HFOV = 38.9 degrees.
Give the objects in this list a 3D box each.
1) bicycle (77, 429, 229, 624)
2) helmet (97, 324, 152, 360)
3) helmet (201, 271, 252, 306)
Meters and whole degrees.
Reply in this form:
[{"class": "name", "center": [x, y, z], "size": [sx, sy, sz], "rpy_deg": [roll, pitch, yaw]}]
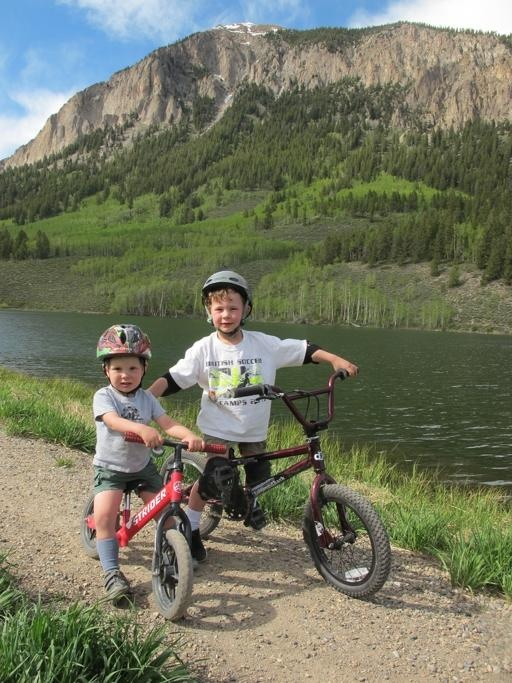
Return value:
[{"class": "bicycle", "center": [-0.723, 1.325, 5.336], "size": [0.362, 1.254, 1.072], "rpy_deg": [0, 3, -23]}, {"class": "helmet", "center": [-1.073, 0.016, 5.868], "size": [0.400, 0.304, 0.429], "rpy_deg": [0, 3, -11]}, {"class": "helmet", "center": [-0.252, -0.475, 6.207], "size": [0.455, 0.285, 0.349], "rpy_deg": [0, 3, -15]}]
